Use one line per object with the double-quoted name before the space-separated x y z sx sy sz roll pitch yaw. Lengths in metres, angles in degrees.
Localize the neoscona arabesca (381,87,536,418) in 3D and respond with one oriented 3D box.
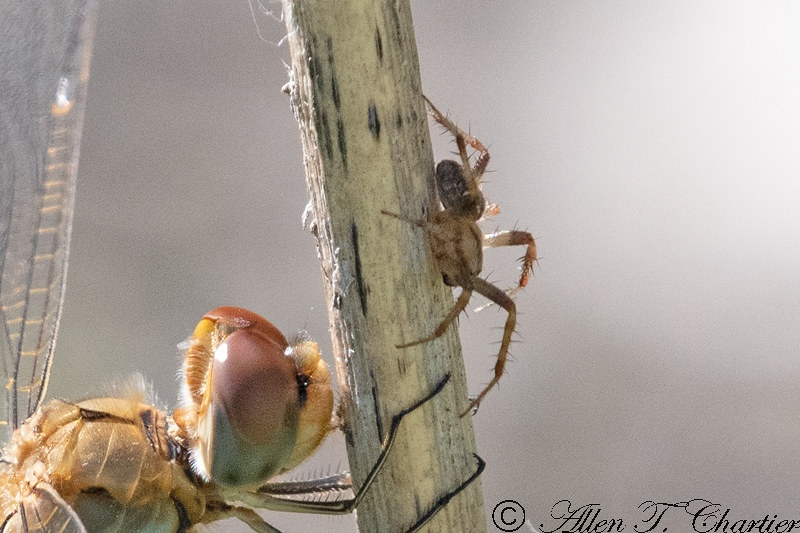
"neoscona arabesca" 0.081 -0.033 1.089 0.077 0.293 0.322 -3 -82 -18
